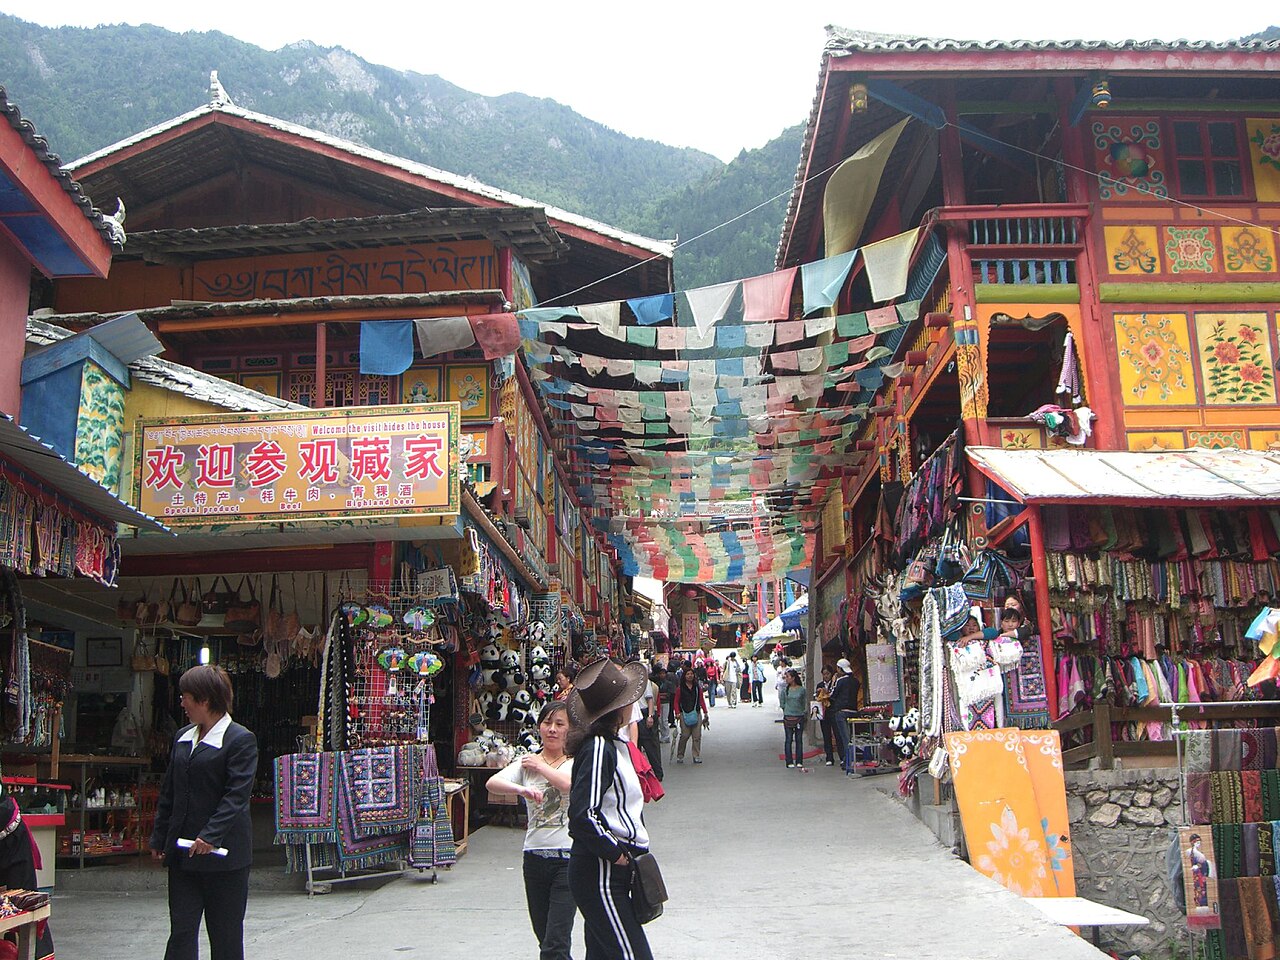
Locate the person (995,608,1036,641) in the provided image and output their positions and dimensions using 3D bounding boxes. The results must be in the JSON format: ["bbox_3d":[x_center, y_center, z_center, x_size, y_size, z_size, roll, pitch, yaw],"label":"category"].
[{"bbox_3d":[4.220,1.628,12.885,0.304,0.389,0.738,-9,-15,26],"label":"person"}]

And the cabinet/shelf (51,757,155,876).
[{"bbox_3d":[-5.966,3.651,12.822,0.860,1.167,1.718,-2,-14,-2],"label":"cabinet/shelf"}]

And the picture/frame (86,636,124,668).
[{"bbox_3d":[-6.682,2.143,14.267,0.506,0.375,0.099,-4,-13,6],"label":"picture/frame"}]

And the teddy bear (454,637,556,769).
[{"bbox_3d":[-1.664,2.746,14.242,1.418,2.168,0.627,1,-1,-5],"label":"teddy bear"}]

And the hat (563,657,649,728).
[{"bbox_3d":[-0.194,1.189,6.121,0.364,0.140,0.338,-22,18,13],"label":"hat"}]
